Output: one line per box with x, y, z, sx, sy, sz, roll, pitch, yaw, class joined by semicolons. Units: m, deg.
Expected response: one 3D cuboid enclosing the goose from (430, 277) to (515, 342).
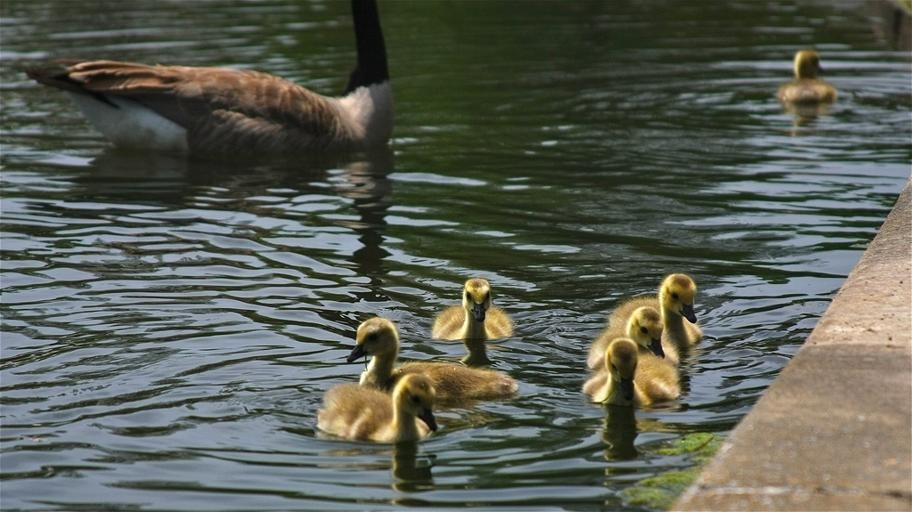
0.238;0.771;16.907;0.982;0.896;1.639;1;1;-12;goose

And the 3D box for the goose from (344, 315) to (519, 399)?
-0.415;1.293;16.199;1.971;1.037;2.507;1;0;-25;goose

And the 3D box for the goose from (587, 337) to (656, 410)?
2.210;1.617;16.149;1.265;0.698;1.377;0;4;5;goose

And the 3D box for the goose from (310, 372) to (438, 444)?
-0.990;1.880;15.315;1.476;0.808;0.640;-1;18;-4;goose
